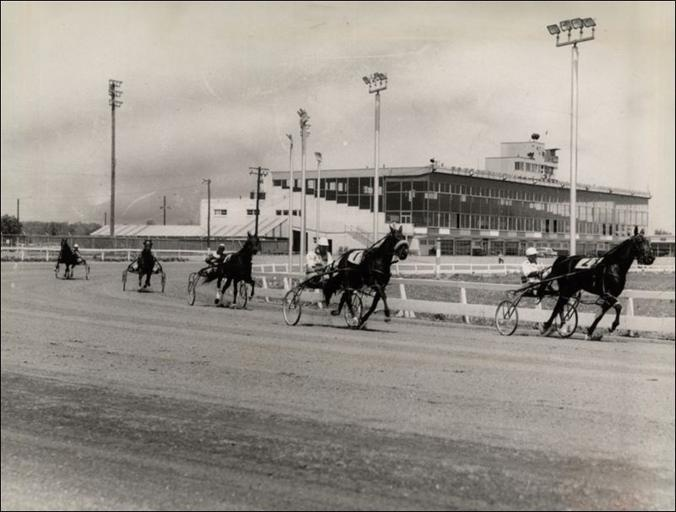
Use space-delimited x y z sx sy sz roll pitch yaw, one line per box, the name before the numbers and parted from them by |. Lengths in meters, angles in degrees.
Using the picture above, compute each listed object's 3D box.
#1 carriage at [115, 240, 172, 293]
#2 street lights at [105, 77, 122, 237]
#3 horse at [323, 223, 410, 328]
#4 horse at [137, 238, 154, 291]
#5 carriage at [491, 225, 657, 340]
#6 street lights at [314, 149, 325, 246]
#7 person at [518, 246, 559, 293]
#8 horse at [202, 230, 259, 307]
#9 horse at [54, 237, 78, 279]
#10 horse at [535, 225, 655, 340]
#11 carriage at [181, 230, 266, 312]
carriage | -6.824 0.246 32.975 1.060 1.244 2.150 5 17 -4
street lights | -7.609 -4.164 31.485 0.319 2.412 0.321 -3 13 -28
horse | 0.689 0.441 21.802 0.796 2.498 2.313 -8 14 -39
horse | -6.859 0.198 33.369 0.558 1.495 2.648 5 17 -7
carriage | 5.341 0.711 20.704 3.428 2.435 0.931 -3 -10 43
street lights | -0.941 -3.397 47.374 0.474 3.605 0.496 2 -8 -15
person | 4.758 0.384 22.191 0.517 1.255 0.841 -7 8 -24
horse | -3.123 0.473 27.111 0.686 2.132 3.205 2 -3 -32
horse | -11.267 0.038 38.522 0.406 1.513 1.940 13 15 -33
horse | 5.707 0.694 20.324 0.826 2.619 2.475 -7 13 -34
carriage | -3.236 0.479 27.242 0.830 2.266 3.275 5 -6 -39
